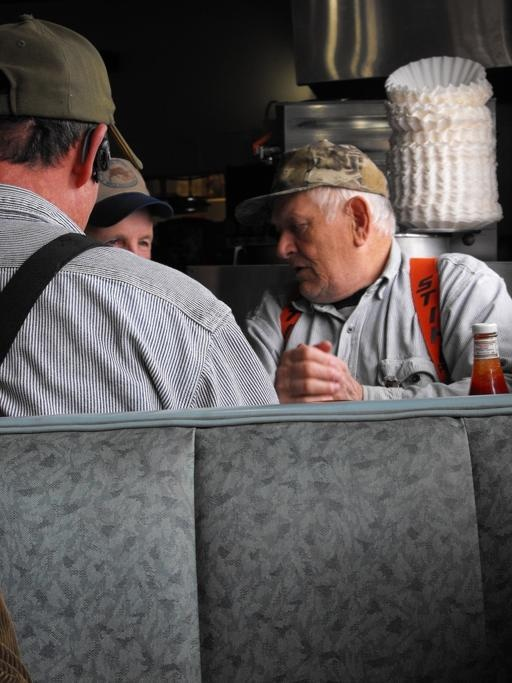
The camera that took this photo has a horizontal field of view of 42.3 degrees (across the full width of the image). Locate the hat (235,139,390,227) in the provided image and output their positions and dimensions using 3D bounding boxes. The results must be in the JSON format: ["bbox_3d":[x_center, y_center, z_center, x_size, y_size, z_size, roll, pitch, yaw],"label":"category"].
[{"bbox_3d":[0.145,-0.380,1.625,0.326,0.118,0.214,0,-6,4],"label":"hat"}]
